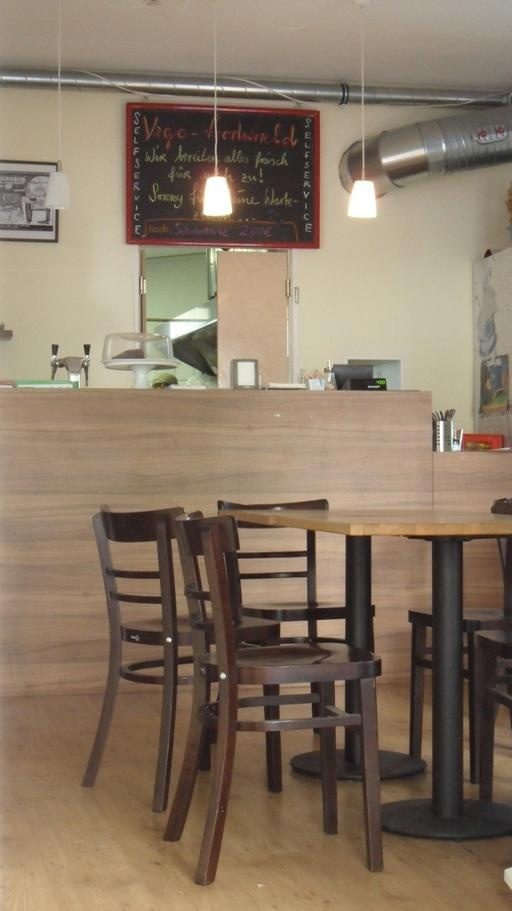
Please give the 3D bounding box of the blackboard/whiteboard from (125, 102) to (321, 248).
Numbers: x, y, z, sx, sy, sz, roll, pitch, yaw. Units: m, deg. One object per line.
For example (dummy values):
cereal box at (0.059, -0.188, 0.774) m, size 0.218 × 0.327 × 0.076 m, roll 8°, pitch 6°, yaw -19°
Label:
blackboard/whiteboard at (-0.296, -1.970, 5.251) m, size 1.100 × 0.933 × 0.091 m, roll 0°, pitch 2°, yaw -7°
